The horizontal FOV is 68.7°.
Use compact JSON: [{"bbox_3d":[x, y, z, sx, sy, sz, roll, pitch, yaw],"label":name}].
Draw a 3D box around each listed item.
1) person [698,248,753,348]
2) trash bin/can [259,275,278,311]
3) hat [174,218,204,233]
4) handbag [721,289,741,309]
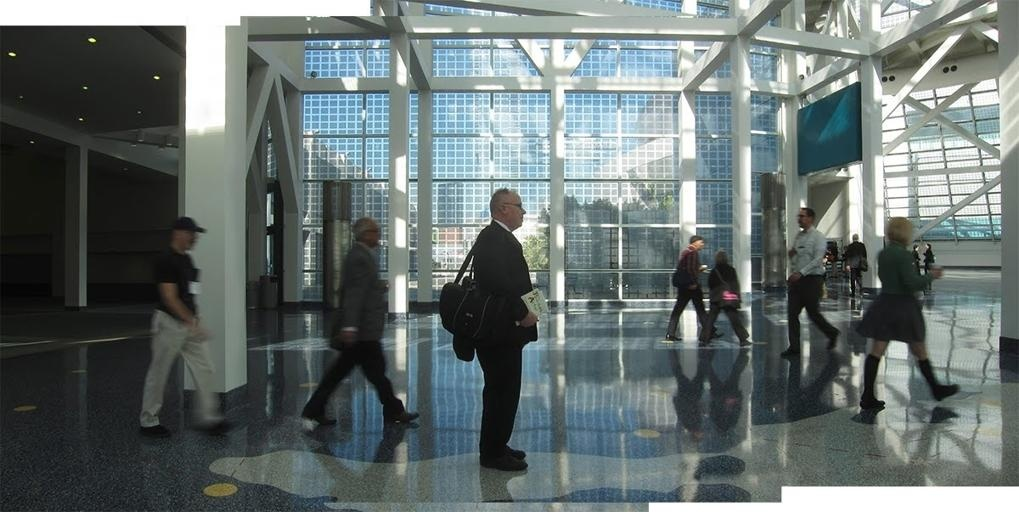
[{"bbox_3d":[7.120,1.389,24.675,1.499,3.137,1.115,1,-1,13],"label":"person"},{"bbox_3d":[-10.576,1.596,32.835,0.740,1.374,0.667,2,-1,-20],"label":"trash bin/can"},{"bbox_3d":[-8.758,-0.839,20.613,0.452,0.241,0.698,7,2,40],"label":"hat"},{"bbox_3d":[7.282,1.398,24.459,0.677,0.532,0.573,-4,4,-14],"label":"handbag"}]
